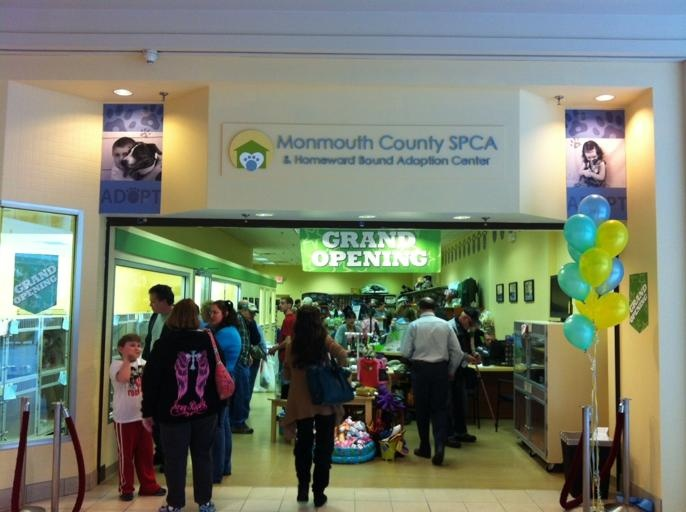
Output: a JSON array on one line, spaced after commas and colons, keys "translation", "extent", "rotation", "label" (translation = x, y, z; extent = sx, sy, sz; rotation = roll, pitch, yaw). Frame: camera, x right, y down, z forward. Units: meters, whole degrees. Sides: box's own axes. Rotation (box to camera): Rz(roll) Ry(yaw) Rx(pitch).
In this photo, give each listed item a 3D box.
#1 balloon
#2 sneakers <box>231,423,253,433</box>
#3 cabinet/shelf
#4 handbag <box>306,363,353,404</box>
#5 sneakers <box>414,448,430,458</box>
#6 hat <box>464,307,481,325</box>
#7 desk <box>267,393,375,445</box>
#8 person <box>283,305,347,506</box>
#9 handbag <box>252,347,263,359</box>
[{"translation": [2.529, 0.163, 6.189], "extent": [0.631, 1.549, 0.502], "rotation": [0, 2, -31], "label": "balloon"}, {"translation": [-1.412, 2.448, 8.776], "extent": [0.324, 0.131, 0.110], "rotation": [0, -5, -3], "label": "sneakers"}, {"translation": [2.569, 1.653, 7.178], "extent": [0.680, 1.695, 1.793], "rotation": [0, -4, 10], "label": "cabinet/shelf"}, {"translation": [-0.148, 1.285, 6.210], "extent": [0.375, 0.363, 0.145], "rotation": [4, -25, -33], "label": "handbag"}, {"translation": [1.012, 2.482, 7.834], "extent": [0.197, 0.141, 0.086], "rotation": [10, 6, 40], "label": "sneakers"}, {"translation": [1.877, 0.877, 8.988], "extent": [0.194, 0.239, 0.245], "rotation": [1, 1, -1], "label": "hat"}, {"translation": [-0.074, 2.057, 8.116], "extent": [1.222, 0.613, 0.905], "rotation": [0, -7, -6], "label": "desk"}, {"translation": [-0.282, 1.526, 6.347], "extent": [0.606, 2.043, 0.375], "rotation": [1, 2, -5], "label": "person"}, {"translation": [-1.299, 1.524, 9.628], "extent": [0.192, 0.151, 0.262], "rotation": [-3, -21, 10], "label": "handbag"}]
